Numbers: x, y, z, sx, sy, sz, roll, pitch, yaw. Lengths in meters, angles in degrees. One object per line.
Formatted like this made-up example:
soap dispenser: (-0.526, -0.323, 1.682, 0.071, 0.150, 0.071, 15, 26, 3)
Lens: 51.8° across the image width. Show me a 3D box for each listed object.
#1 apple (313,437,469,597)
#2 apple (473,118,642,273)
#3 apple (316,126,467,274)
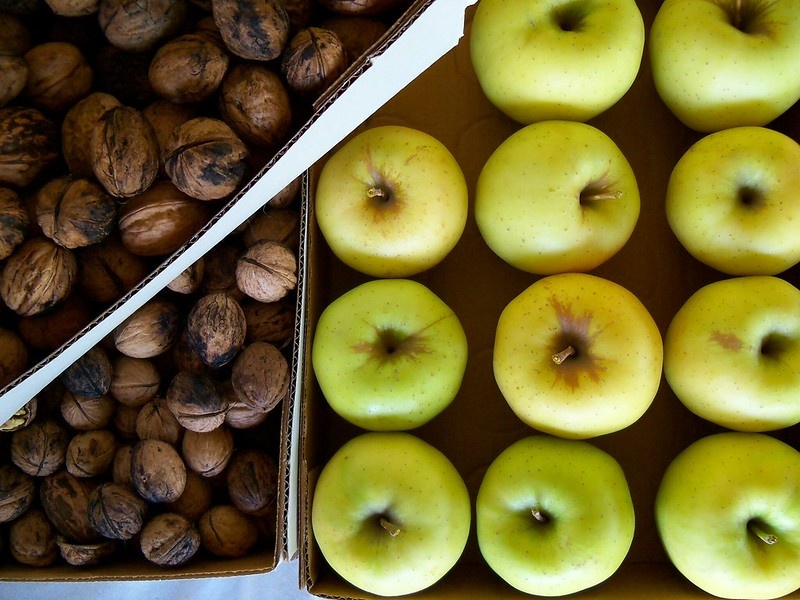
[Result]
apple: (-0.010, 0.354, 1.492, 0.222, 0.290, 0.264, -6, -1, 5)
apple: (0.265, -0.203, 1.496, 0.228, 0.280, 0.287, 0, 14, -12)
apple: (-0.007, -0.170, 1.428, 0.221, 0.269, 0.261, -2, 8, 5)
